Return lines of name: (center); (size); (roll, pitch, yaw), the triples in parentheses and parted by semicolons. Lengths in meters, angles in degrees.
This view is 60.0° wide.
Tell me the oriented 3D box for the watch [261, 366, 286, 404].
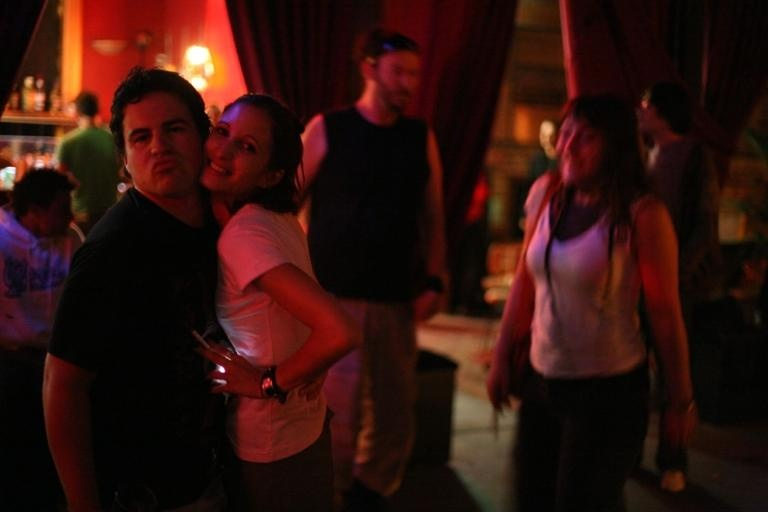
watch: (-0.338, 0.391, 2.028); (0.073, 0.103, 0.036); (2, 0, -13)
